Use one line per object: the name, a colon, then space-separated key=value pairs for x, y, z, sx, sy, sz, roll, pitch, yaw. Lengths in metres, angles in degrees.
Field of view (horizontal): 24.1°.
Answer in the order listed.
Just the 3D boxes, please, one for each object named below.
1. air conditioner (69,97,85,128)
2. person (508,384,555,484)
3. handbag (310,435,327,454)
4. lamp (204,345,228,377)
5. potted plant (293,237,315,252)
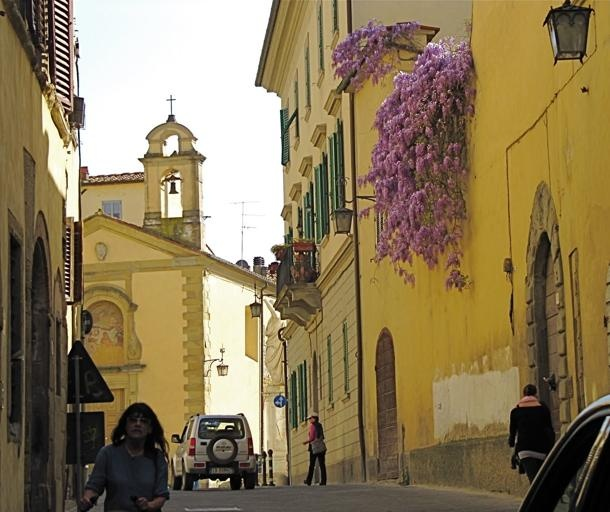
air conditioner: x=-4.276 y=-2.649 z=26.588 sx=0.315 sy=0.606 sz=0.316 roll=-2 pitch=-8 yaw=-36
person: x=2.979 y=2.445 z=18.717 sx=0.525 sy=1.675 sz=0.331 roll=-5 pitch=16 yaw=9
handbag: x=0.295 y=4.188 z=31.681 sx=0.320 sy=0.334 sz=0.294 roll=2 pitch=-2 yaw=0
lamp: x=-3.509 y=4.274 z=58.082 sx=0.976 sy=1.900 sz=0.923 roll=0 pitch=-3 yaw=3
potted plant: x=-0.009 y=-0.278 z=36.278 sx=0.570 sy=0.326 sz=0.366 roll=2 pitch=-2 yaw=2
